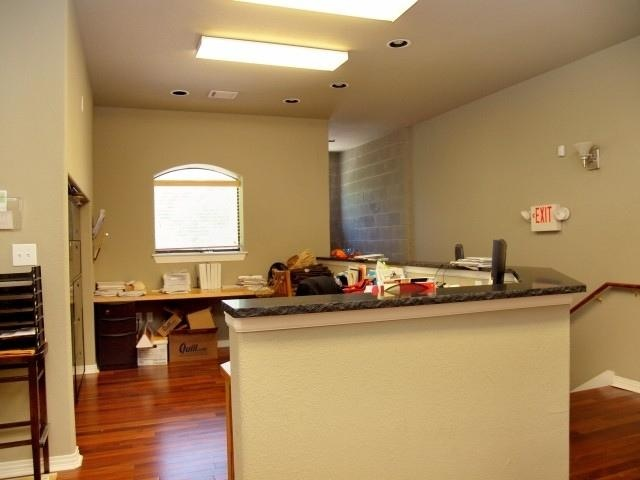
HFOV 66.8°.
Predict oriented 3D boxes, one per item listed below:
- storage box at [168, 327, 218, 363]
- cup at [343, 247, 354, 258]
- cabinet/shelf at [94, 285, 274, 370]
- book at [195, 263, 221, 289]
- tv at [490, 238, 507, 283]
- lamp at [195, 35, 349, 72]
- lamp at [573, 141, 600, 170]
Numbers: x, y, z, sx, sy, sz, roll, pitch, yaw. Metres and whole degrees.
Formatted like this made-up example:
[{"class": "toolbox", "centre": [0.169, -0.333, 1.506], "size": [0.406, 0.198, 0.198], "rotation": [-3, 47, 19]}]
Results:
[{"class": "storage box", "centre": [-1.630, 1.360, 6.260], "size": [0.777, 0.422, 0.407], "rotation": [1, 4, -16]}, {"class": "cup", "centre": [0.429, 0.185, 7.118], "size": [0.141, 0.089, 0.117], "rotation": [-1, 1, -1]}, {"class": "cabinet/shelf", "centre": [-1.614, 1.103, 6.415], "size": [2.775, 0.803, 0.821], "rotation": [-1, -3, -15]}, {"class": "book", "centre": [-1.516, 0.450, 6.705], "size": [0.346, 0.389, 0.439], "rotation": [0, 0, -20]}, {"class": "tv", "centre": [1.207, 0.154, 3.268], "size": [0.095, 0.328, 0.082], "rotation": [7, 18, 27]}, {"class": "lamp", "centre": [-0.471, -1.853, 4.819], "size": [1.448, 0.141, 0.429], "rotation": [-2, 3, -15]}, {"class": "lamp", "centre": [2.807, -0.881, 5.111], "size": [0.072, 0.297, 0.237], "rotation": [-4, 4, -25]}]
